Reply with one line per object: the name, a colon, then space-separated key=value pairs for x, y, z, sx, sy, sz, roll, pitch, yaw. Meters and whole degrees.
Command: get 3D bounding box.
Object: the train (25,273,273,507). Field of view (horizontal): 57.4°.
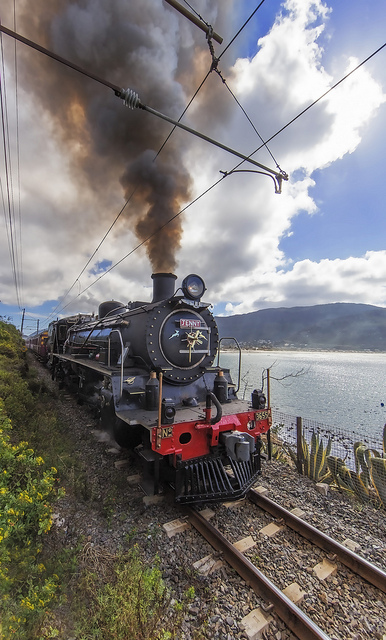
train: x=-1.921 y=1.081 z=9.353 sx=2.643 sy=3.470 sz=9.734 roll=2 pitch=-1 yaw=-33
